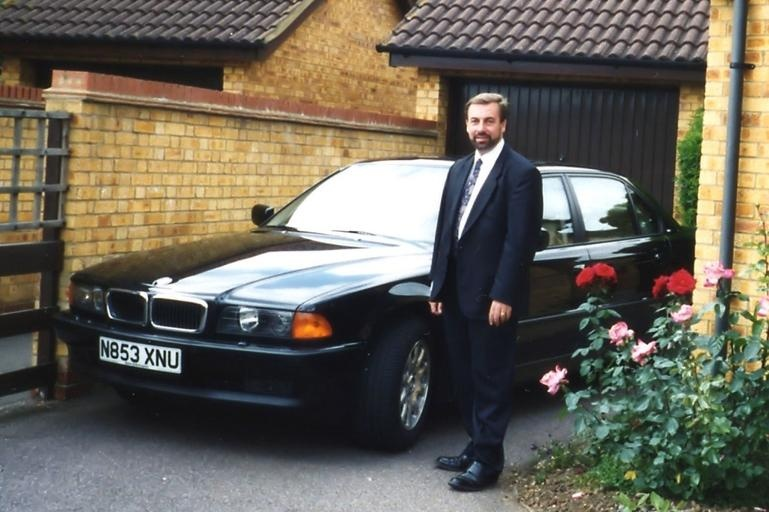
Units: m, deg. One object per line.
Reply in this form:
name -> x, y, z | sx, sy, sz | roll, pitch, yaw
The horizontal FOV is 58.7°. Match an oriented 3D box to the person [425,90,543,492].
person -> 0.658, 0.249, 4.729 | 0.732, 2.682, 0.489 | 4, 7, 20

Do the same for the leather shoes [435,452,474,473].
leather shoes -> 0.501, 1.481, 5.001 | 0.240, 0.118, 0.116 | 7, 1, 0

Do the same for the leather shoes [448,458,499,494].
leather shoes -> 0.599, 1.499, 4.708 | 0.351, 0.162, 0.169 | 2, -3, -35
